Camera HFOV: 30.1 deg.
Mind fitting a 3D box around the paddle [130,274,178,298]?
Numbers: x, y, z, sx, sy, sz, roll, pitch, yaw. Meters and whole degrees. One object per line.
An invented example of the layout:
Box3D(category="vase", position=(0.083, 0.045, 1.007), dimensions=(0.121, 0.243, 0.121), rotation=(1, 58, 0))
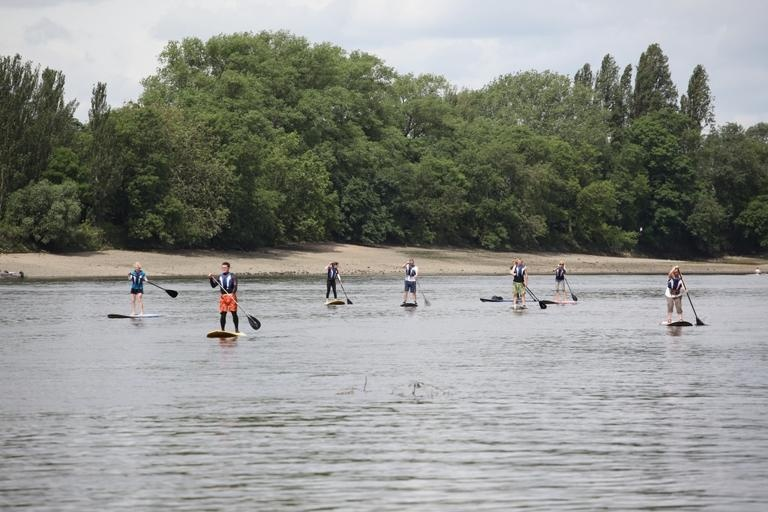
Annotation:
Box3D(category="paddle", position=(-16.203, 2.212, 100.411), dimensions=(3.598, 0.448, 0.251), rotation=(26, 8, 19))
